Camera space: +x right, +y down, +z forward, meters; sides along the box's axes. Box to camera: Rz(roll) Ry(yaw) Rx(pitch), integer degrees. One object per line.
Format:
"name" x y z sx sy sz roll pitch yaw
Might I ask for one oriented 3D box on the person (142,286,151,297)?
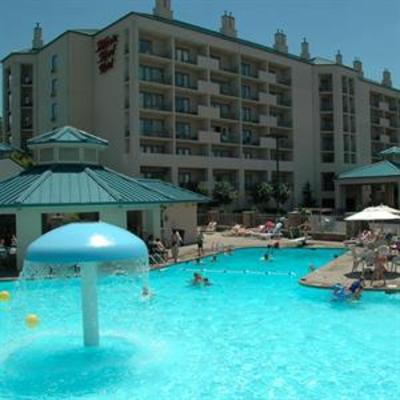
"person" -1.869 3.137 15.629 0.312 0.335 0.733 -1 4 -7

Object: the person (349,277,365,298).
"person" 5.007 2.780 14.342 0.341 0.561 0.853 1 4 29

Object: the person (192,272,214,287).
"person" 0.083 3.037 17.557 0.799 0.534 0.761 -1 4 2

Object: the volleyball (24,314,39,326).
"volleyball" -4.004 2.903 10.664 0.295 0.345 0.335 -2 4 -22
